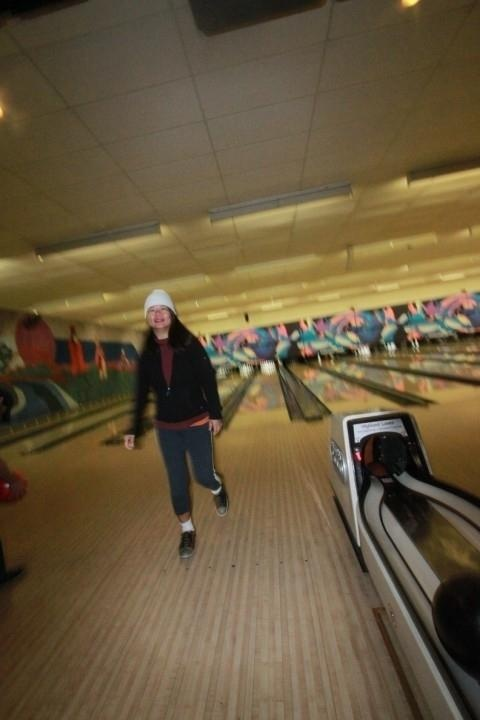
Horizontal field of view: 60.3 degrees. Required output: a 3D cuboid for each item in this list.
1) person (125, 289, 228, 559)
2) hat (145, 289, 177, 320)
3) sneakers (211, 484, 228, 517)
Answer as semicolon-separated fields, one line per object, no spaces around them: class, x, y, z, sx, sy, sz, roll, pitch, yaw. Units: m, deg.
person;-0.271;0.278;1.664;0.369;1.098;0.250;-6;5;-21
hat;-0.320;-0.213;1.658;0.091;0.138;0.133;-2;1;-3
sneakers;-0.090;0.703;1.997;0.045;0.081;0.163;-1;22;1
